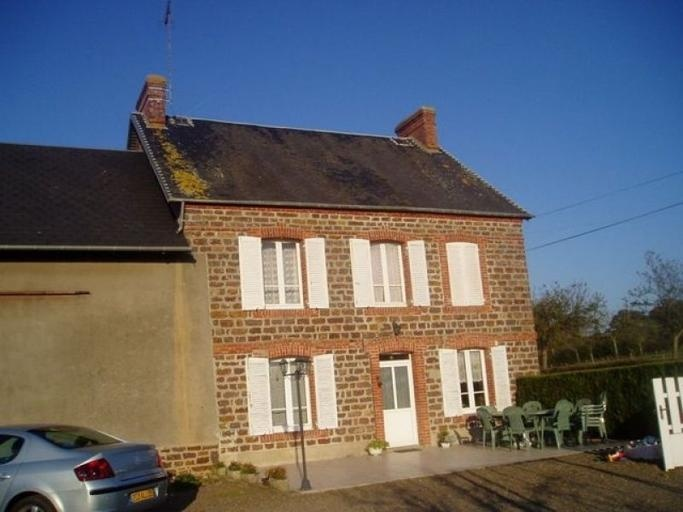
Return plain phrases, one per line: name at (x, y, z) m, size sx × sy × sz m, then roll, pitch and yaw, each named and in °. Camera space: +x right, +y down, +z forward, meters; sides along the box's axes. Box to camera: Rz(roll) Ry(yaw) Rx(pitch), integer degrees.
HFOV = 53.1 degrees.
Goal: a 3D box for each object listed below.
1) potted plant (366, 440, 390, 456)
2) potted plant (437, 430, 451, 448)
potted plant at (0.963, 5.215, 18.545) m, size 0.394 × 0.278 × 0.408 m, roll -8°, pitch -15°, yaw 25°
potted plant at (2.908, 5.199, 19.402) m, size 0.434 × 0.592 × 0.372 m, roll 3°, pitch -20°, yaw -5°
